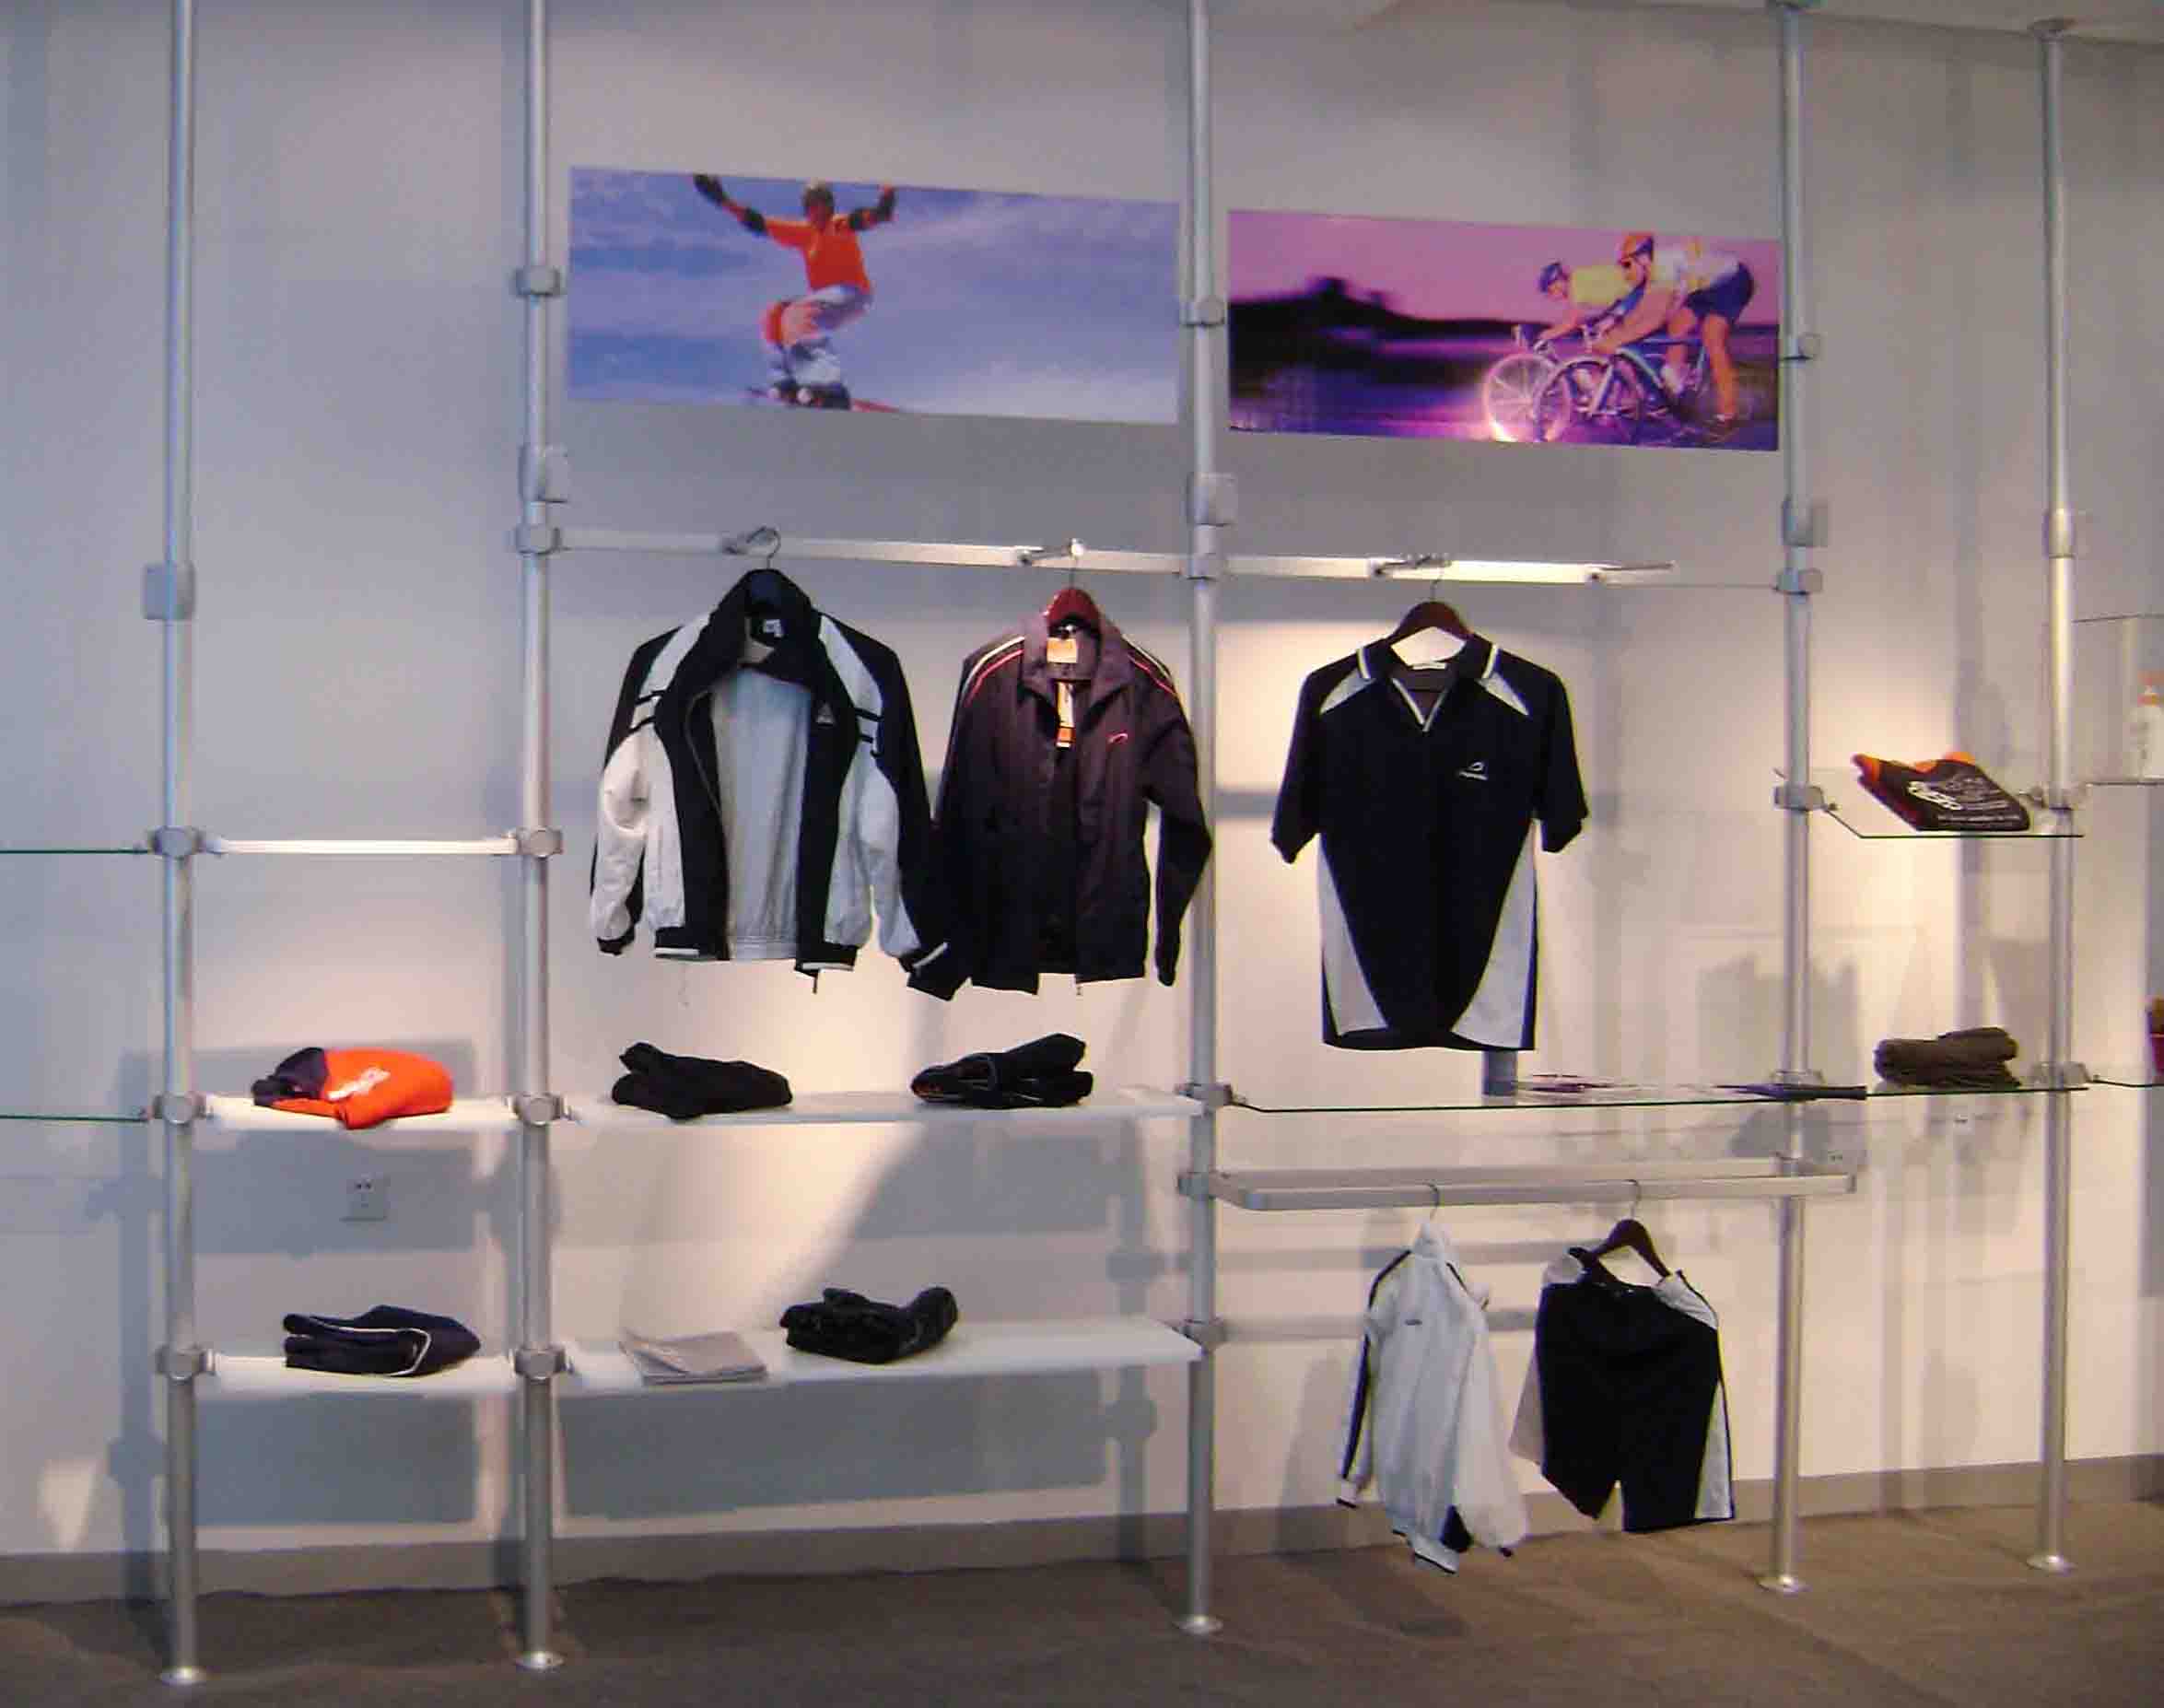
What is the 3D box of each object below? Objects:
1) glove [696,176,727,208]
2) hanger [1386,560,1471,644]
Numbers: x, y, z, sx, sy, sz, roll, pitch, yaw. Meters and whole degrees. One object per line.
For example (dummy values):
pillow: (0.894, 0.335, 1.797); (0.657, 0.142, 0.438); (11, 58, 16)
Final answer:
glove: (-0.893, -1.594, 6.916); (0.050, 0.076, 0.022); (-11, 16, -26)
hanger: (0.830, -0.615, 7.005); (0.241, 0.163, 0.011); (-1, 14, -6)
